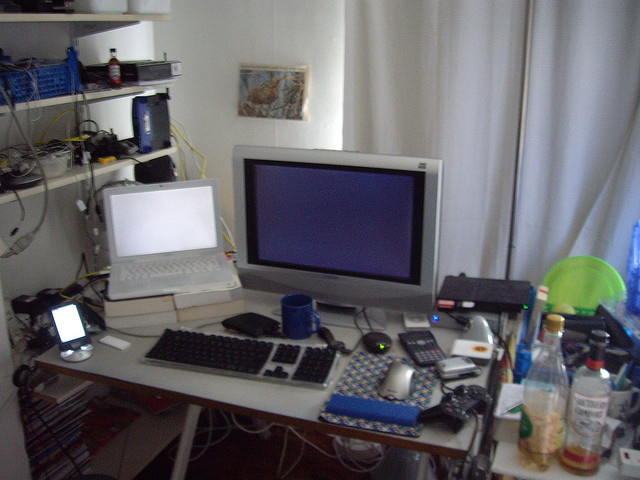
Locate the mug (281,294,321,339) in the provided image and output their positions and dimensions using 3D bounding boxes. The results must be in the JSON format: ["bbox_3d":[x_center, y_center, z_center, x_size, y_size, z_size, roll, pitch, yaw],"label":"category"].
[{"bbox_3d":[-0.071,0.260,1.802,0.136,0.145,0.148,-3,21,-21],"label":"mug"}]

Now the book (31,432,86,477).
[{"bbox_3d":[-1.005,0.807,1.942,0.097,0.089,0.120,14,17,22],"label":"book"}]

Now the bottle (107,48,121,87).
[{"bbox_3d":[-0.835,-0.700,2.073,0.050,0.143,0.157,-10,22,-18],"label":"bottle"}]

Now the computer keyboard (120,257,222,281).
[{"bbox_3d":[-0.558,0.104,1.926,0.360,0.038,0.096,-7,21,-11],"label":"computer keyboard"}]

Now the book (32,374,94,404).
[{"bbox_3d":[-0.878,0.498,1.725,0.159,0.037,0.146,11,21,22],"label":"book"}]

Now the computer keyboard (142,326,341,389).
[{"bbox_3d":[-0.253,0.387,1.645,0.617,0.077,0.216,8,14,4],"label":"computer keyboard"}]

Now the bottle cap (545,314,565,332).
[{"bbox_3d":[0.590,0.209,1.292,0.043,0.032,0.043,-11,24,-20],"label":"bottle cap"}]

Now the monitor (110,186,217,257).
[{"bbox_3d":[-0.595,-0.084,1.997,0.445,0.267,0.356,-5,20,-17],"label":"monitor"}]

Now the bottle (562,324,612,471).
[{"bbox_3d":[0.667,0.402,1.273,0.077,0.354,0.110,9,24,28],"label":"bottle"}]

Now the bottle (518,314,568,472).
[{"bbox_3d":[0.570,0.409,1.305,0.097,0.332,0.160,8,24,27],"label":"bottle"}]

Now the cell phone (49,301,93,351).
[{"bbox_3d":[-0.824,0.289,1.702,0.098,0.140,0.101,-16,25,-30],"label":"cell phone"}]

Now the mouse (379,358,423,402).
[{"bbox_3d":[0.239,0.396,1.528,0.104,0.060,0.170,14,38,26],"label":"mouse"}]

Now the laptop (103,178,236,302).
[{"bbox_3d":[-0.554,-0.010,1.858,0.465,0.289,0.366,-10,28,-23],"label":"laptop"}]

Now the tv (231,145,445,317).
[{"bbox_3d":[0.060,-0.026,1.793,0.615,0.445,0.062,7,23,13],"label":"tv"}]

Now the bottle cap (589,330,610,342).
[{"bbox_3d":[0.689,0.233,1.268,0.042,0.020,0.042,-1,13,17],"label":"bottle cap"}]
